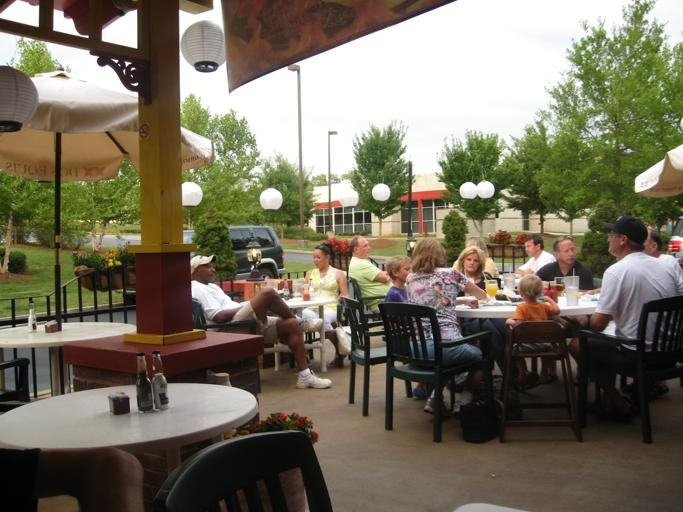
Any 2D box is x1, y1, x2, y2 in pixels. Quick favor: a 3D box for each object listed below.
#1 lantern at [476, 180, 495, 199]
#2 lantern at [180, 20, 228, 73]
[{"bbox_3d":[5.223,-2.419,20.980,0.579,0.605,1.425,-2,4,10],"label":"lantern"},{"bbox_3d":[-1.587,-2.393,6.562,0.472,0.533,0.293,-4,5,-15],"label":"lantern"}]
